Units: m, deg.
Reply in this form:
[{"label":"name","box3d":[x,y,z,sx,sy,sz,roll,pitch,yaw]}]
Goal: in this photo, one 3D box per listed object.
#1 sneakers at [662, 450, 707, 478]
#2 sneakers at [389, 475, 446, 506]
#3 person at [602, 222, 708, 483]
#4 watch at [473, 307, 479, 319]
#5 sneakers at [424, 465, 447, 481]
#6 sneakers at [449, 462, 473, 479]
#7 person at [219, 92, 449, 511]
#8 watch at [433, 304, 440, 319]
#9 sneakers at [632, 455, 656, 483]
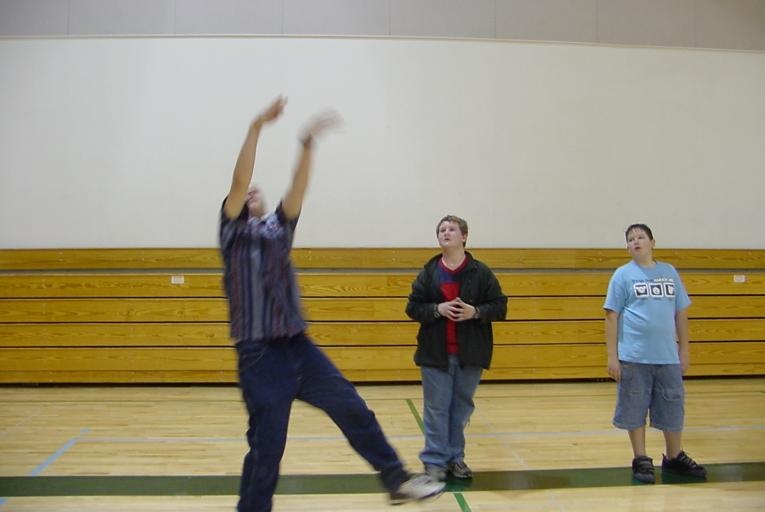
[{"label":"sneakers","box3d":[3.013,2.099,8.370,0.528,0.266,0.184,4,-2,11]},{"label":"sneakers","box3d":[0.307,2.050,7.397,0.553,0.238,0.199,-13,1,-5]},{"label":"person","box3d":[2.636,0.953,8.255,0.827,2.540,0.370,0,3,11]},{"label":"watch","box3d":[0.923,0.560,8.168,0.059,0.099,0.033,0,3,7]},{"label":"sneakers","box3d":[0.526,2.121,8.087,0.229,0.075,0.166,15,-1,3]},{"label":"sneakers","box3d":[0.768,2.138,8.245,0.128,0.097,0.248,4,-13,-24]},{"label":"person","box3d":[-0.688,0.413,7.243,1.431,3.586,0.429,-1,3,-11]},{"label":"watch","box3d":[0.535,0.538,8.201,0.040,0.100,0.092,-7,4,1]},{"label":"sneakers","box3d":[2.595,2.106,8.201,0.225,0.247,0.142,1,3,13]}]
